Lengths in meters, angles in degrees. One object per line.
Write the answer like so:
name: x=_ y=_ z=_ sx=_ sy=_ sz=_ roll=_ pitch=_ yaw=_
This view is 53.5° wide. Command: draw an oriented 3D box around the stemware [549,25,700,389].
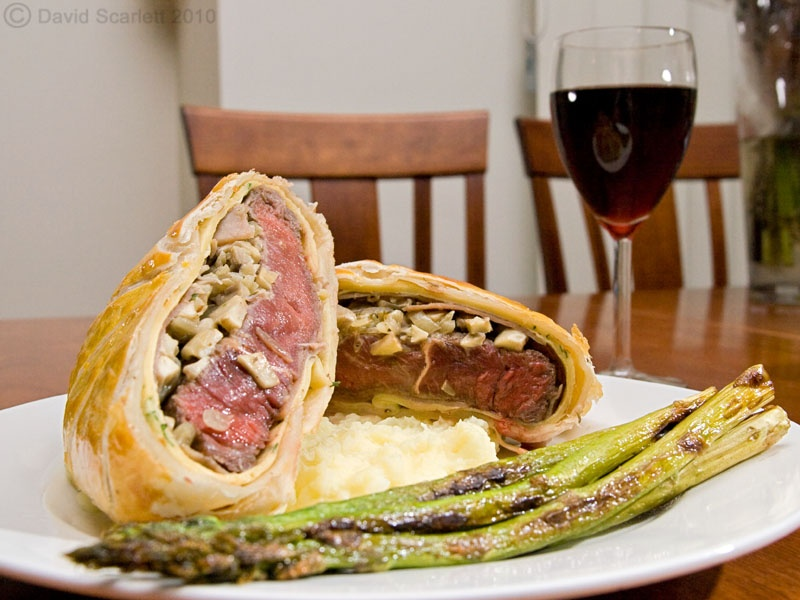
stemware: x=0.521 y=-0.188 z=1.866 sx=0.286 sy=0.846 sz=0.287 roll=-8 pitch=11 yaw=-28
